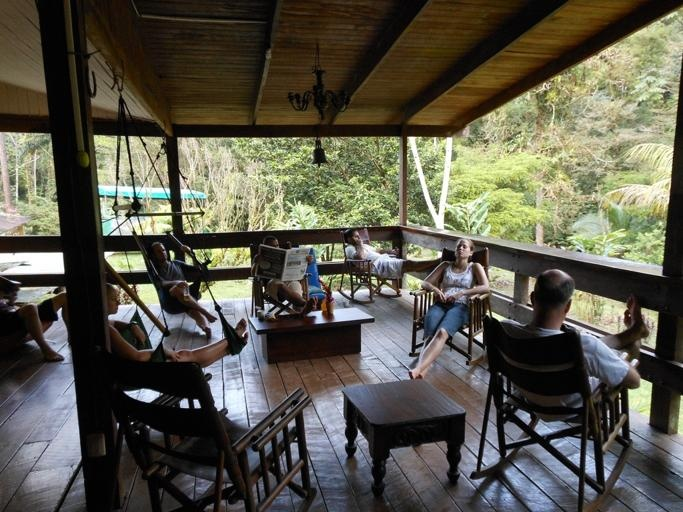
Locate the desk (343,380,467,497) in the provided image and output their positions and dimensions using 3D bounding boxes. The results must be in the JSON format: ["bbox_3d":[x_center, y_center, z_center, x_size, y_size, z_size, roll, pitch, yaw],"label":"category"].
[{"bbox_3d":[0.398,0.993,3.013,0.671,0.479,0.650,-2,3,-20],"label":"desk"}]

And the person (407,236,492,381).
[{"bbox_3d":[0.992,0.475,4.526,0.652,1.035,1.422,9,22,28],"label":"person"}]

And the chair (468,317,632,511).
[{"bbox_3d":[1.276,0.872,3.158,0.787,1.040,1.316,0,0,40],"label":"chair"}]

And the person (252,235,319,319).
[{"bbox_3d":[-0.633,0.214,5.331,0.652,0.784,1.228,-1,7,-25],"label":"person"}]

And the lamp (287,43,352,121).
[{"bbox_3d":[-0.222,-1.797,4.879,0.624,0.808,0.620,-7,23,-17],"label":"lamp"}]

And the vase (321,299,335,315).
[{"bbox_3d":[-0.133,0.540,5.008,0.118,0.146,0.152,0,-11,-2],"label":"vase"}]

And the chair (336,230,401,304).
[{"bbox_3d":[0.634,0.051,7.327,1.137,1.173,0.739,1,1,37],"label":"chair"}]

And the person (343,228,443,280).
[{"bbox_3d":[0.790,-0.036,6.857,1.433,0.786,0.593,3,20,23],"label":"person"}]

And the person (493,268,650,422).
[{"bbox_3d":[1.471,0.491,3.001,0.699,0.690,1.174,1,8,40],"label":"person"}]

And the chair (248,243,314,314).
[{"bbox_3d":[-0.556,0.208,5.221,0.517,0.622,0.948,-6,23,-34],"label":"chair"}]
